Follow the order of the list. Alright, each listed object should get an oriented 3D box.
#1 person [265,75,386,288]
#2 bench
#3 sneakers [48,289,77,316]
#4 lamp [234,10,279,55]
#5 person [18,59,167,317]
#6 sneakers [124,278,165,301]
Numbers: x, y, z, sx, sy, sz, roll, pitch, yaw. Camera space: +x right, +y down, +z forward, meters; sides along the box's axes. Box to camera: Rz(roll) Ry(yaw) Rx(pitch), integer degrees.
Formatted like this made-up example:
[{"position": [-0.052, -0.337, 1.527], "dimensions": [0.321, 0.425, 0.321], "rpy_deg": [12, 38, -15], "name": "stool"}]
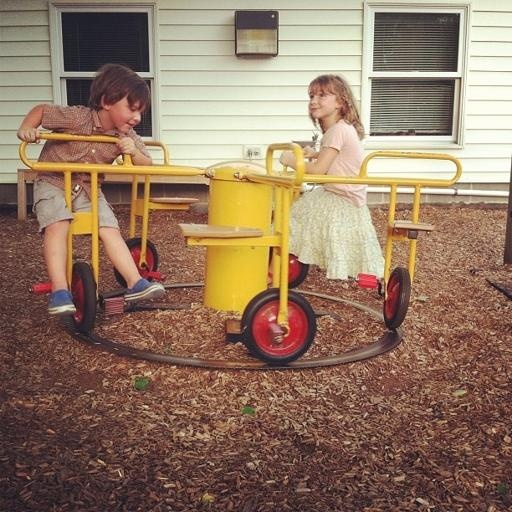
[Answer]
[{"position": [0.480, -0.418, 3.132], "dimensions": [0.679, 1.403, 0.719], "rpy_deg": [0, 15, -6], "name": "person"}, {"position": [-1.587, -0.774, 5.834], "dimensions": [2.152, 0.500, 0.555], "rpy_deg": [0, 6, -6], "name": "bench"}, {"position": [-0.907, 0.215, 2.347], "dimensions": [0.112, 0.109, 0.176], "rpy_deg": [-4, 14, -19], "name": "sneakers"}, {"position": [-0.099, -2.658, 6.035], "dimensions": [0.626, 0.490, 0.340], "rpy_deg": [-18, 34, -31], "name": "lamp"}, {"position": [-0.849, -0.392, 2.577], "dimensions": [0.630, 1.186, 0.918], "rpy_deg": [-2, 15, -12], "name": "person"}, {"position": [-0.563, 0.179, 2.504], "dimensions": [0.189, 0.127, 0.176], "rpy_deg": [-2, 14, -13], "name": "sneakers"}]
